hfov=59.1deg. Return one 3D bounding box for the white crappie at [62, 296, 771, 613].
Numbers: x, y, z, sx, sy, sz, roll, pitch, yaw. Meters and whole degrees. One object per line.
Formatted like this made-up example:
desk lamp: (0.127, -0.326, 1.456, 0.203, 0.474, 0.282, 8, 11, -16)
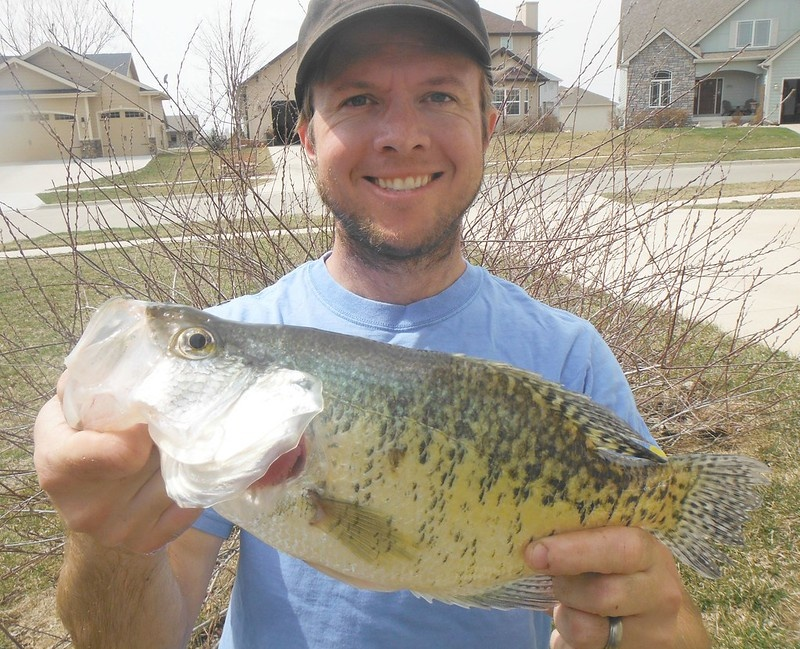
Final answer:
white crappie: (0.079, 0.531, 2.396, 2.245, 0.898, 0.795, 14, 16, 2)
